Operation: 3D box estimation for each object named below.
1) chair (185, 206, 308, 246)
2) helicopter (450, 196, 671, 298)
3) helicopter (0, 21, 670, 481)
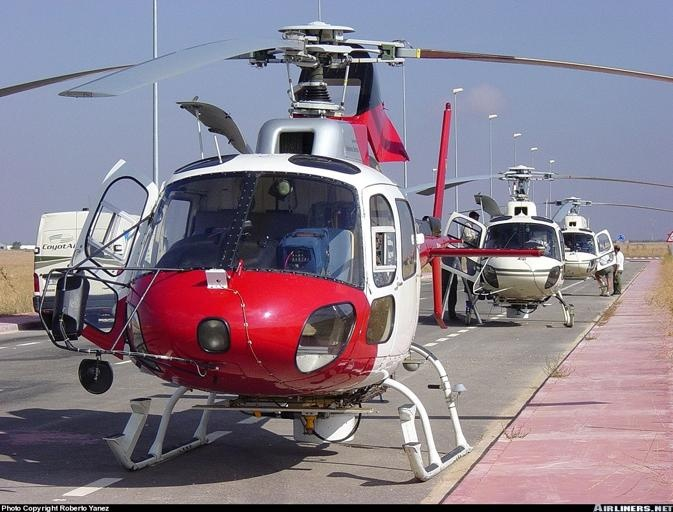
[{"bbox_3d":[-0.932,-0.286,7.483,1.616,0.340,0.380,-1,-7,2],"label":"chair"},{"bbox_3d":[10.064,-0.373,32.398,8.426,2.315,8.486,1,-3,20],"label":"helicopter"},{"bbox_3d":[-0.617,-0.336,8.260,6.731,2.024,6.309,-1,0,19],"label":"helicopter"}]
